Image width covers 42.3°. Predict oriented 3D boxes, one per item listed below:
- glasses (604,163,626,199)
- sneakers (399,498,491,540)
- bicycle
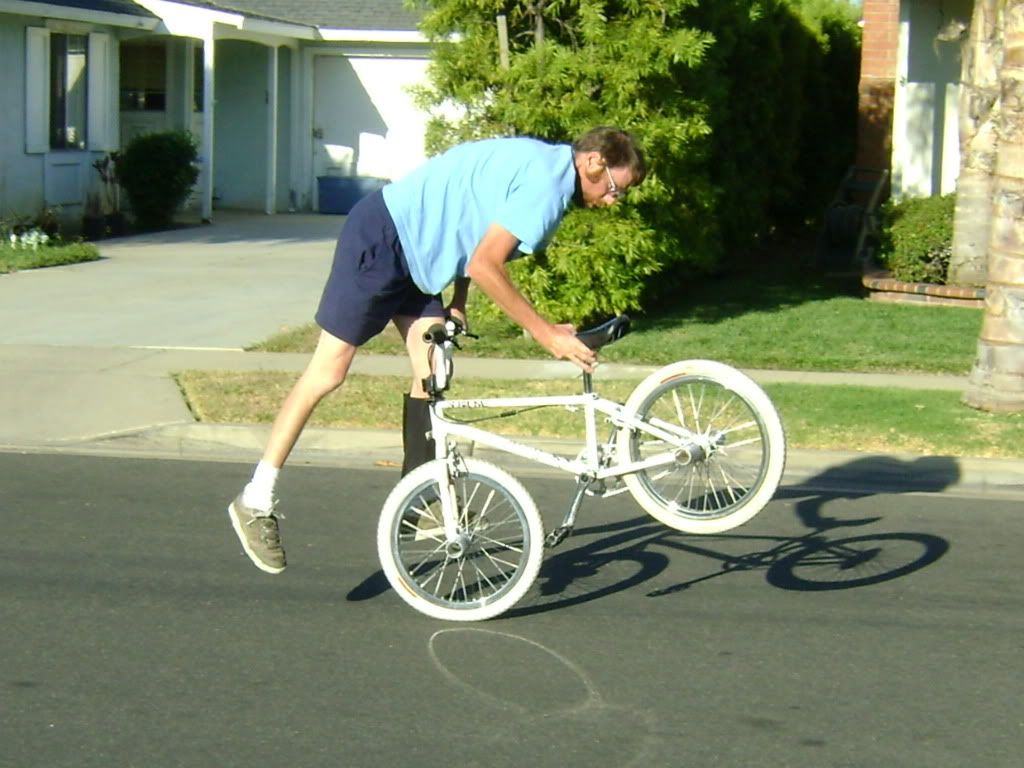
[{"bbox_3d":[0.511,-1.025,6.701,0.136,0.139,0.042,8,-24,-36],"label":"glasses"},{"bbox_3d":[-0.381,0.739,7.025,0.349,0.138,0.247,-4,9,-4],"label":"sneakers"},{"bbox_3d":[0.280,0.382,7.481,2.490,1.565,1.222,-16,-5,-4],"label":"bicycle"}]
